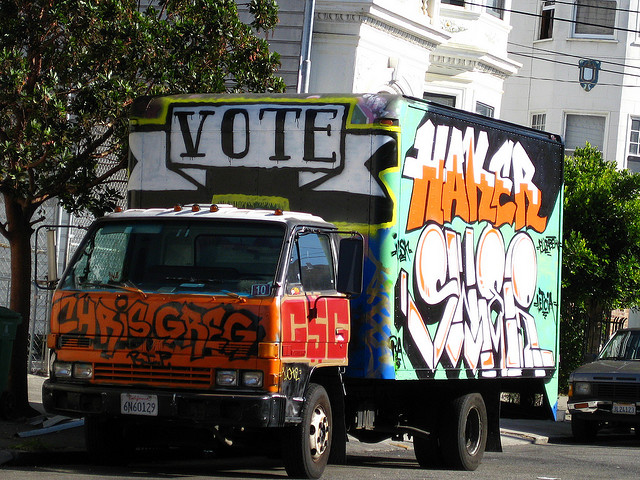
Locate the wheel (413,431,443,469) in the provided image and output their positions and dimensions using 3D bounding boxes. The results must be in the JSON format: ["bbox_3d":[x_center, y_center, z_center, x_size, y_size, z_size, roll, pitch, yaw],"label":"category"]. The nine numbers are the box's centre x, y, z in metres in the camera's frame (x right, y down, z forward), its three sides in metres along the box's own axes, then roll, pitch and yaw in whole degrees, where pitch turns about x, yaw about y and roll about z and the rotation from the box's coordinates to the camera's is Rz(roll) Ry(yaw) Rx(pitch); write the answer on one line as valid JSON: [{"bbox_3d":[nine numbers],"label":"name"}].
[{"bbox_3d":[1.467,2.898,14.131,0.156,0.491,0.464,-2,-16,9],"label":"wheel"}]

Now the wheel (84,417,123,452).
[{"bbox_3d":[-2.624,2.402,12.542,0.460,0.338,0.190,5,-3,-13],"label":"wheel"}]

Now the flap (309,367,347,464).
[{"bbox_3d":[0.085,2.162,12.385,0.390,1.201,0.413,-2,-3,0],"label":"flap"}]

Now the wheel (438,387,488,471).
[{"bbox_3d":[1.894,2.630,14.163,0.353,1.218,1.118,-3,-1,32],"label":"wheel"}]

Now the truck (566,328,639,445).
[{"bbox_3d":[5.431,2.805,19.395,1.611,2.148,1.711,-3,-3,37],"label":"truck"}]

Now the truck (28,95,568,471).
[{"bbox_3d":[0.228,0.614,13.883,3.832,4.468,7.189,-3,-8,34],"label":"truck"}]

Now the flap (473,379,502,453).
[{"bbox_3d":[2.409,2.503,14.783,0.465,1.338,0.438,-3,-6,23],"label":"flap"}]
